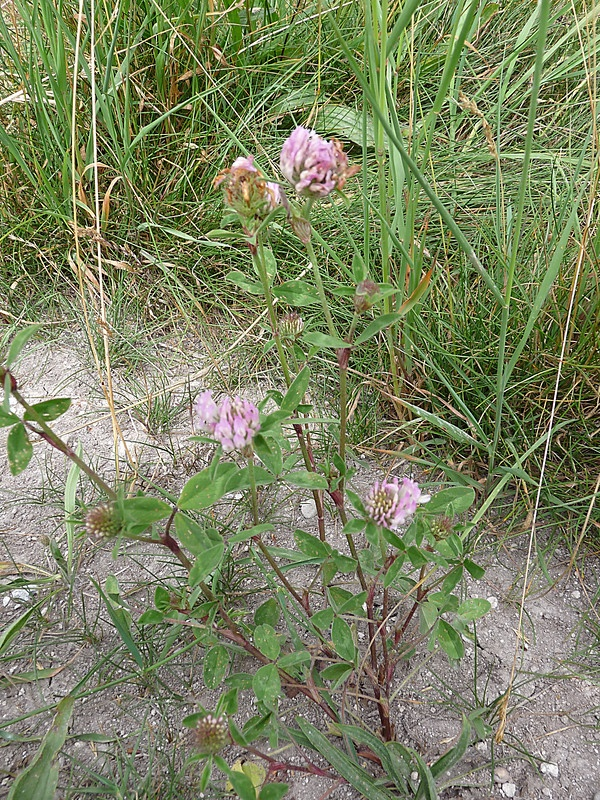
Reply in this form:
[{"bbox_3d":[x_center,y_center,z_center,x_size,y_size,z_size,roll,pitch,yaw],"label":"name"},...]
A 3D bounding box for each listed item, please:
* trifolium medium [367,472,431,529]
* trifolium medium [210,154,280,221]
[{"bbox_3d":[0.162,0.178,1.066,0.111,0.068,0.092,-11,60,-6],"label":"trifolium medium"},{"bbox_3d":[-0.079,-0.340,0.960,0.093,0.098,0.148,-4,50,0],"label":"trifolium medium"}]
